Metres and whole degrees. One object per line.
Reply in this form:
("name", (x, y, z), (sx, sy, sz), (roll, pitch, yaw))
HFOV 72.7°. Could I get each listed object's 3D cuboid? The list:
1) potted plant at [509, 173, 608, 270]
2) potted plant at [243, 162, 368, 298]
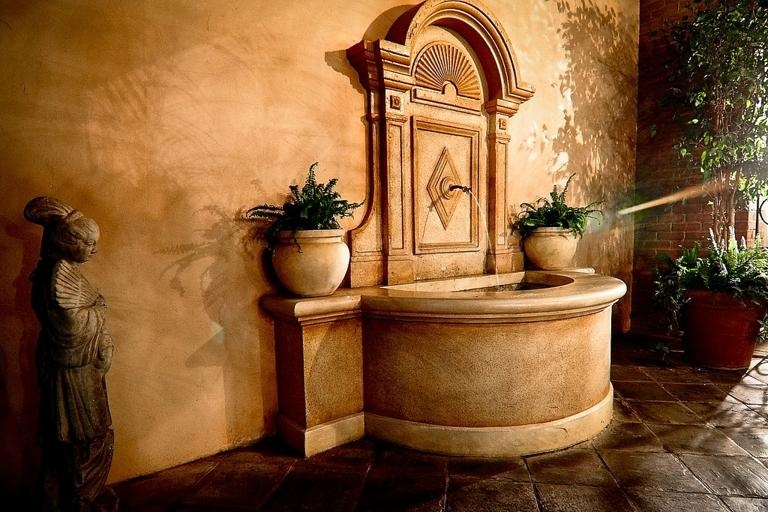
("potted plant", (1.657, -0.256, 5.099), (0.845, 0.751, 0.769), (-2, -1, 31))
("potted plant", (-0.539, -0.189, 3.685), (0.618, 0.887, 0.944), (4, 6, 41))
